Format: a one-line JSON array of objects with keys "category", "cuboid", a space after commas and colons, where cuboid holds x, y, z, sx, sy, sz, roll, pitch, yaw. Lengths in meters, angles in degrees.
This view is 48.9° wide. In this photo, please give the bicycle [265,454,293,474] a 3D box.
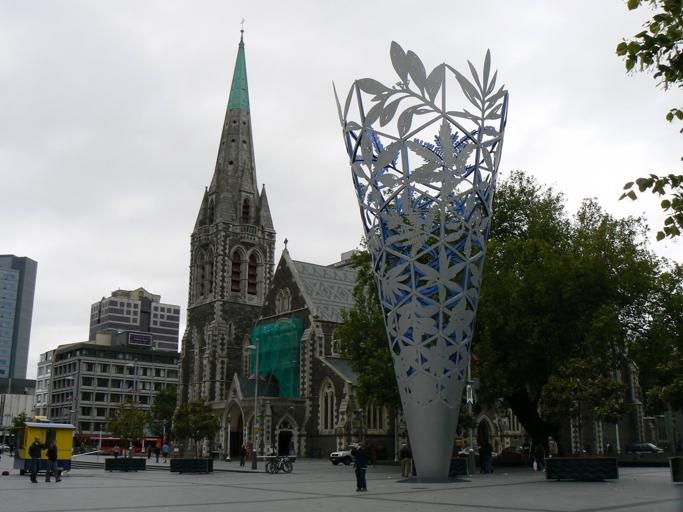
[{"category": "bicycle", "cuboid": [-3.539, 12.058, 43.223, 1.202, 1.233, 1.961, 5, -8, -4]}]

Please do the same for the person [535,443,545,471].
[{"category": "person", "cuboid": [10.903, 11.011, 41.017, 0.485, 1.450, 1.914, -5, -18, 13]}]
